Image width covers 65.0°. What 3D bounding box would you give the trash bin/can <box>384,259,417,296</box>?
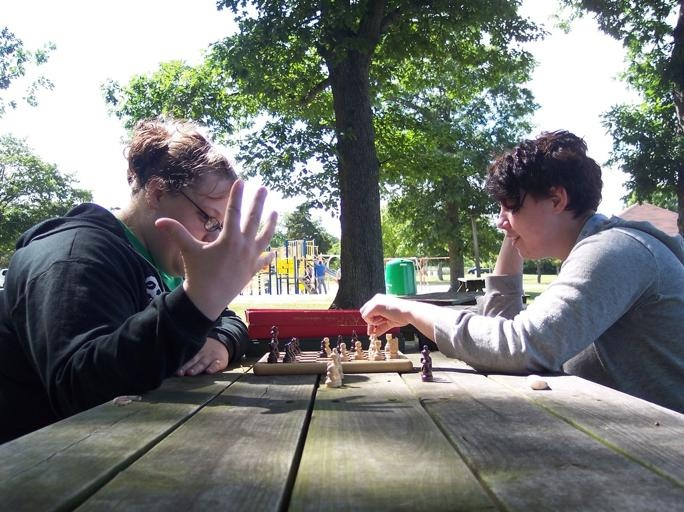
[{"bbox_3d":[1.720,0.610,15.799,1.036,1.252,1.092,0,-4,-2],"label":"trash bin/can"}]
